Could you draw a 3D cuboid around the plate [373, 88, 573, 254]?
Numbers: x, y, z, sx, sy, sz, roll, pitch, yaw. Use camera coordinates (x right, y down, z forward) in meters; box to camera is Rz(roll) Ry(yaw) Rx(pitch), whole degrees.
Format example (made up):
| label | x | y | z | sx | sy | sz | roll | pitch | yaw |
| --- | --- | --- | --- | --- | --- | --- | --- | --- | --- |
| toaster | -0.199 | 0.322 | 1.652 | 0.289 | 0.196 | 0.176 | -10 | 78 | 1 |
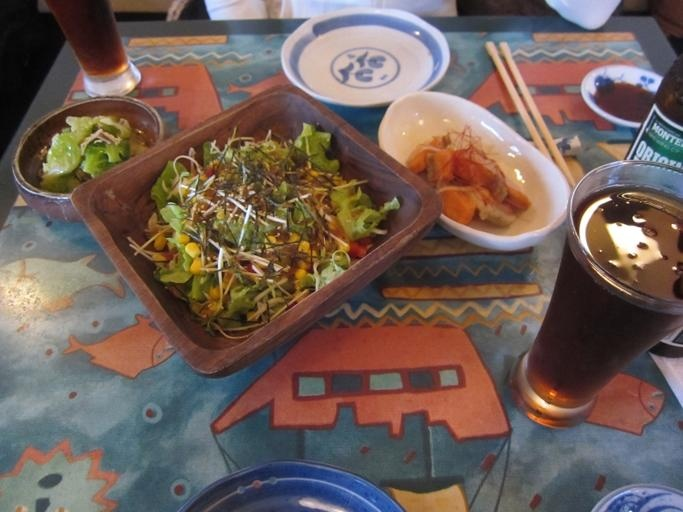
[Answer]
| label | x | y | z | sx | sy | sz | roll | pitch | yaw |
| --- | --- | --- | --- | --- | --- | --- | --- | --- | --- |
| plate | 0.386 | -0.207 | 1.855 | 0.444 | 0.183 | 0.671 | -27 | 63 | -23 |
